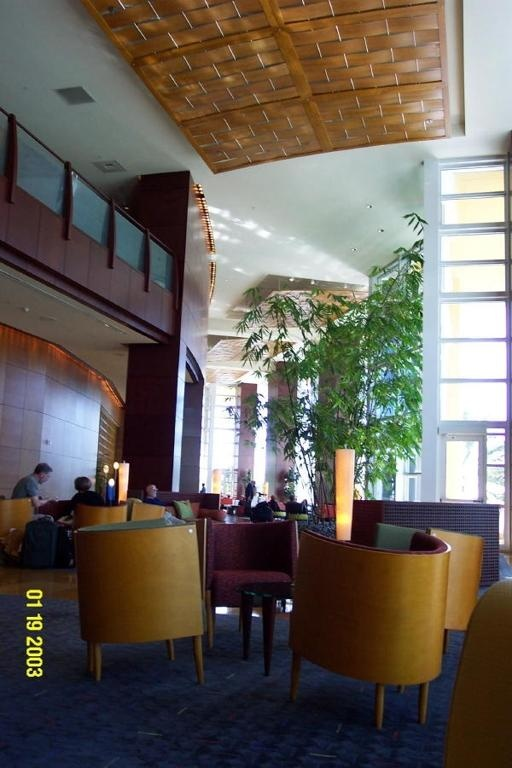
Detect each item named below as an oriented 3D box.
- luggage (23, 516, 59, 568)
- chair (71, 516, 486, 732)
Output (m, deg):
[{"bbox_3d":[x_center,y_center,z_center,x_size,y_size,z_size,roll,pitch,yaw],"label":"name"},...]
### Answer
[{"bbox_3d":[-2.417,1.804,6.182,0.398,0.552,0.350,1,13,-38],"label":"luggage"},{"bbox_3d":[0.118,1.056,2.619,1.559,0.747,1.194,-4,-13,21],"label":"chair"}]
